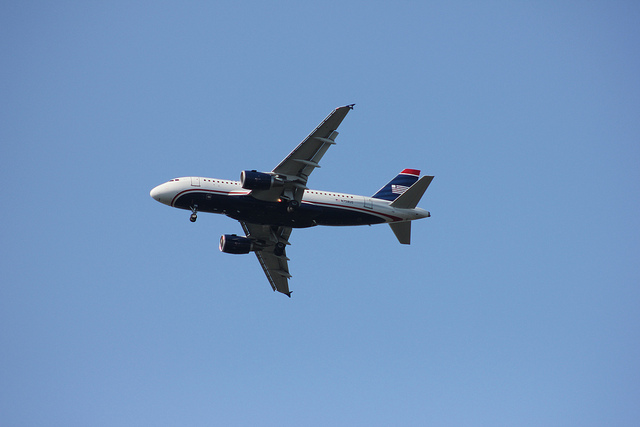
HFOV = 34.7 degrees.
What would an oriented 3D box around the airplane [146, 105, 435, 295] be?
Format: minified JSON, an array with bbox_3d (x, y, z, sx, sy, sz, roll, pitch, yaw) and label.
[{"bbox_3d":[-2.609,-2.065,82.743,22.734,8.304,21.216,8,-44,-11],"label":"airplane"}]
